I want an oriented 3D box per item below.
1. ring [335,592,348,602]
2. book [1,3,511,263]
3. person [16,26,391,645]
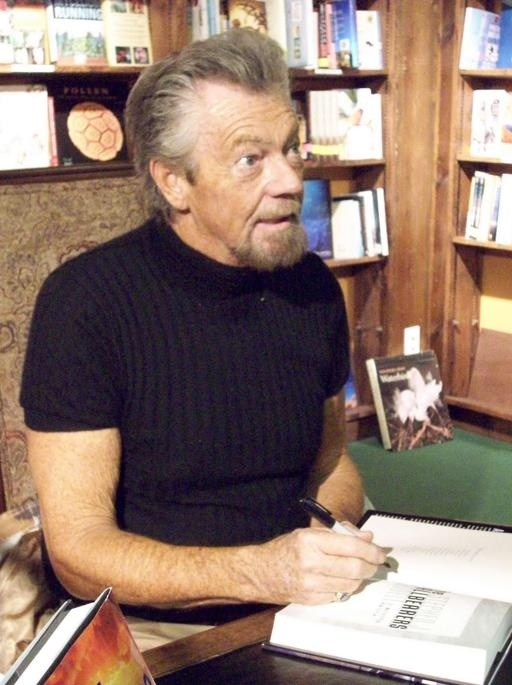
[{"bbox_3d":[0.103,0.304,0.695,0.011,0.010,0.008,17,-6,-13],"label":"ring"},{"bbox_3d":[0.031,-0.778,1.986,1.437,0.810,0.156,-16,28,-33],"label":"book"},{"bbox_3d":[-0.088,-0.056,1.045,0.530,0.753,0.673,-7,5,15],"label":"person"}]
